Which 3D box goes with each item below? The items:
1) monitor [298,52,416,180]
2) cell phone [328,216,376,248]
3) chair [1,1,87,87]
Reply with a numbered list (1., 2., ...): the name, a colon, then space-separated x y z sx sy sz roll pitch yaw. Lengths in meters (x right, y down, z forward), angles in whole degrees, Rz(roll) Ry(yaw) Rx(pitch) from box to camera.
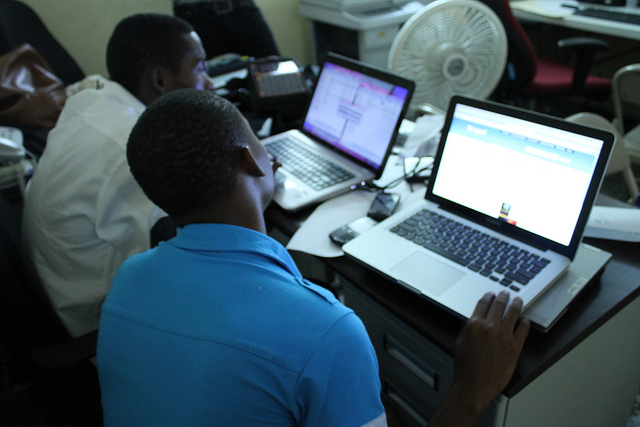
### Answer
1. monitor: 0.172 -0.491 2.049 0.504 0.305 0.378 31 43 4
2. cell phone: 0.111 0.044 1.663 0.147 0.107 0.033 -25 59 19
3. chair: -1.360 -0.806 2.366 0.298 0.384 0.255 12 37 19
